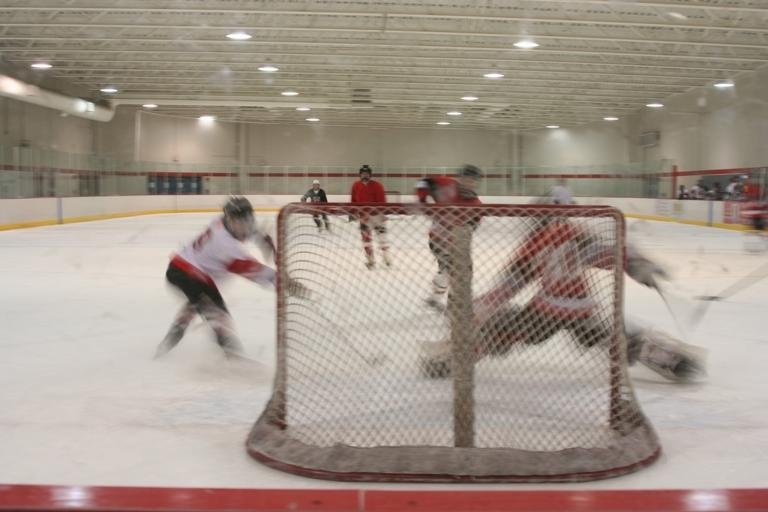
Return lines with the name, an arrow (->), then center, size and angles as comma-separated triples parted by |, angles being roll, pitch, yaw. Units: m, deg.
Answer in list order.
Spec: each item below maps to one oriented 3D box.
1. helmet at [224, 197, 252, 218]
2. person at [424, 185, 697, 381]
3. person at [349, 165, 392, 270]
helmet -> -1.079, -0.363, 4.342 | 0.212, 0.153, 0.164 | 0, 5, -10
person -> 1.154, 0.271, 3.710 | 1.960, 1.162, 0.820 | -3, 6, -38
person -> -0.098, -0.251, 3.611 | 0.260, 0.624, 0.253 | -1, 7, 21
